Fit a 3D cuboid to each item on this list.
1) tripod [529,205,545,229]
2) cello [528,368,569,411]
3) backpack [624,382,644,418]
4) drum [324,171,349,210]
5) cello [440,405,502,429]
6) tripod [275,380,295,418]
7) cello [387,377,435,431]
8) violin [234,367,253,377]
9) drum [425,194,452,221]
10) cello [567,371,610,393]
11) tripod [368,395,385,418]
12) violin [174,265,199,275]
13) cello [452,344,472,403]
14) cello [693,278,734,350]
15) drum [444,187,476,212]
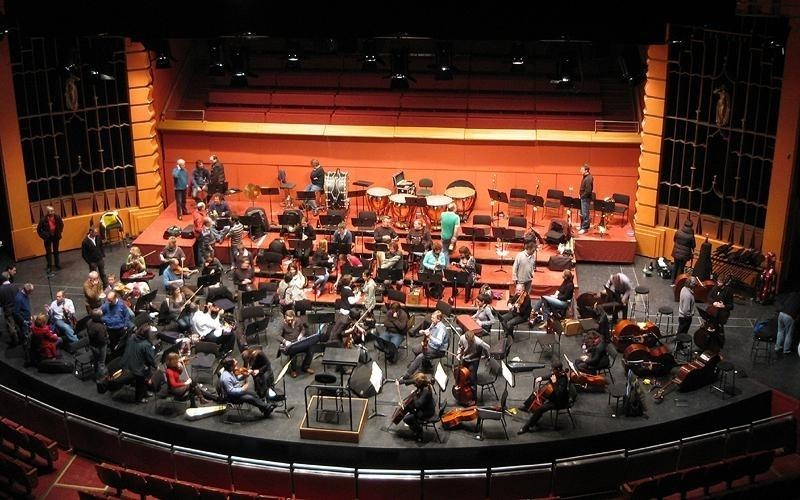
[{"bbox_3d":[5.324,-1.274,23.407,0.844,0.943,0.823,0,2,4],"label":"tripod"},{"bbox_3d":[3.860,3.648,15.687,0.531,1.474,0.811,19,38,17],"label":"cello"},{"bbox_3d":[6.188,3.913,16.159,0.820,0.975,0.357,-1,1,-36],"label":"backpack"},{"bbox_3d":[-2.352,-2.200,23.150,0.748,1.313,1.084,3,33,3],"label":"drum"},{"bbox_3d":[1.749,4.205,15.423,1.606,0.328,0.638,-14,6,26],"label":"cello"},{"bbox_3d":[-3.111,4.050,16.568,0.613,0.810,0.684,2,8,-4],"label":"tripod"},{"bbox_3d":[0.371,3.896,15.412,0.991,1.632,0.734,4,8,5],"label":"cello"},{"bbox_3d":[-4.080,3.206,16.034,0.573,0.258,0.298,1,1,38],"label":"violin"},{"bbox_3d":[1.428,-1.564,22.859,0.895,0.643,0.876,0,26,0],"label":"drum"},{"bbox_3d":[5.251,3.594,16.965,1.001,0.582,0.294,13,20,10],"label":"cello"},{"bbox_3d":[-0.640,4.210,16.403,0.528,0.559,0.437,-2,0,-10],"label":"tripod"},{"bbox_3d":[-7.055,0.714,20.186,0.302,0.146,0.560,9,5,20],"label":"violin"},{"bbox_3d":[1.716,3.507,16.288,0.585,1.308,0.428,0,1,10],"label":"cello"},{"bbox_3d":[9.207,1.858,17.966,0.977,2.201,0.681,21,0,0],"label":"cello"},{"bbox_3d":[2.351,-1.938,23.202,0.983,0.709,0.912,-1,12,0],"label":"drum"}]
